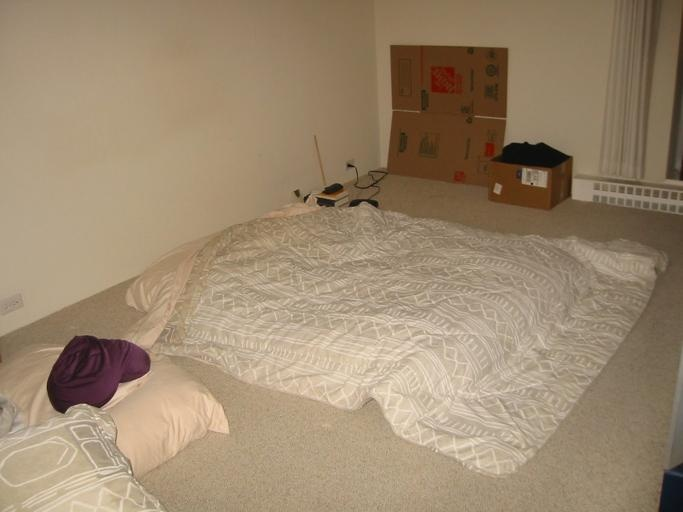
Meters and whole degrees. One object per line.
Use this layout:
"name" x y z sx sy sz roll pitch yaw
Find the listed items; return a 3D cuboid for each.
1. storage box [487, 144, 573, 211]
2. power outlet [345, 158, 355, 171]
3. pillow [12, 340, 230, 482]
"storage box" 1.840 -0.813 4.729 0.659 0.627 0.710 11 24 31
"power outlet" 0.096 -1.091 5.621 0.027 0.121 0.116 7 15 34
"pillow" -0.967 0.715 2.260 0.659 0.180 0.674 32 31 28
